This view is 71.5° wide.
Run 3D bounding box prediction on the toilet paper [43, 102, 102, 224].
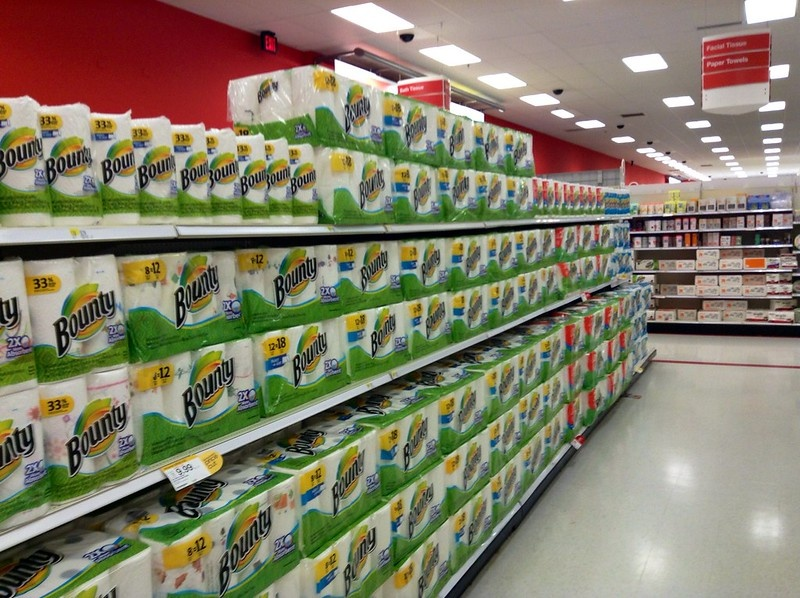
[{"bbox_3d":[-0.888,-0.366,1.515,0.126,0.331,0.079,-6,8,-28],"label":"toilet paper"}]
